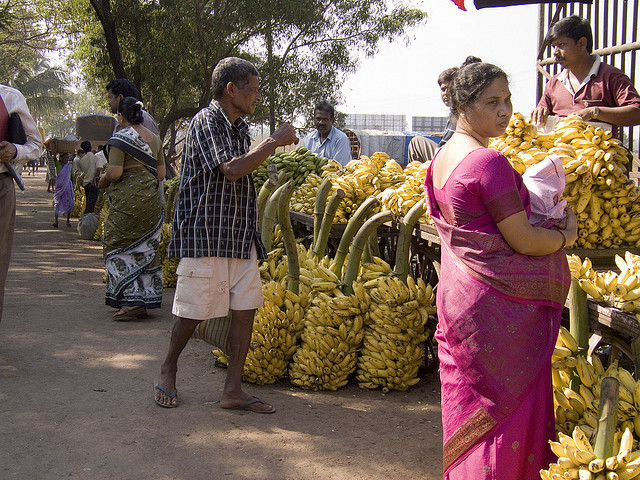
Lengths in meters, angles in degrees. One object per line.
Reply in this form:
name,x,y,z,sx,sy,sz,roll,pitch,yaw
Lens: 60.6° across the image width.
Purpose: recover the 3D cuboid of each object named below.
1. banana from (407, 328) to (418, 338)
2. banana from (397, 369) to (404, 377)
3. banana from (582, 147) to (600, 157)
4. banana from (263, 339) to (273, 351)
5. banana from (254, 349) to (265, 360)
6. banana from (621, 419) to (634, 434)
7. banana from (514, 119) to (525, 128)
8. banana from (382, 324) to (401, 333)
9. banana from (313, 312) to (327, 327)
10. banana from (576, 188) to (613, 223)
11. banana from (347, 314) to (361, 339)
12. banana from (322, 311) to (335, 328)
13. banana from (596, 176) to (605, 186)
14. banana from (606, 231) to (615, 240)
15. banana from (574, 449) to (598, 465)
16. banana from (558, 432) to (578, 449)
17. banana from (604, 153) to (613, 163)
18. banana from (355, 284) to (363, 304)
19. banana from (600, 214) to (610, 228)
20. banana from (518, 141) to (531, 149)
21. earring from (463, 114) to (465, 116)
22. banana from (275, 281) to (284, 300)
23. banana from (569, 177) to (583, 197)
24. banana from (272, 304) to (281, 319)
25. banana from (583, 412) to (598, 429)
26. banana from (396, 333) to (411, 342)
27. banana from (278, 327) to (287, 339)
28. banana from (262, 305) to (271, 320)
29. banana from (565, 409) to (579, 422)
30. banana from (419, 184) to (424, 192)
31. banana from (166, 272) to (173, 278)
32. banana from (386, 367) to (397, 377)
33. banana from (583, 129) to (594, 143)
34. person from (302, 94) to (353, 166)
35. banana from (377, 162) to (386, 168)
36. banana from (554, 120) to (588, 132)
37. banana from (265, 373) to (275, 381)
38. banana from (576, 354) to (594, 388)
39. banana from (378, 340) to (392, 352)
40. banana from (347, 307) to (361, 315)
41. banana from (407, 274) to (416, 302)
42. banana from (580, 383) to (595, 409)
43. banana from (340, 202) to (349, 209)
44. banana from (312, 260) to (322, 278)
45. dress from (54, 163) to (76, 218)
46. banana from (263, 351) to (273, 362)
banana,0.746,0.746,4.405,0.079,0.060,0.023,44,-25,-25
banana,0.650,1.066,4.390,0.058,0.066,0.016,0,8,-16
banana,1.651,-0.537,3.354,0.093,0.060,0.022,0,8,-14
banana,-0.406,0.841,4.403,0.031,0.124,0.041,-7,43,23
banana,-0.475,0.917,4.415,0.032,0.117,0.040,-34,16,-3
banana,1.470,0.882,2.618,0.053,0.042,0.074,-24,-27,-12
banana,1.317,-0.766,3.609,0.071,0.050,0.025,1,8,-12
banana,0.580,0.712,4.393,0.118,0.066,0.043,12,29,11
banana,-0.008,0.642,4.498,0.045,0.173,0.062,-33,-9,-15
banana,1.670,-0.216,3.342,0.197,0.214,0.056,20,-13,-21
banana,0.302,0.693,4.540,0.076,0.232,0.056,14,-7,37
banana,0.070,0.651,4.460,0.048,0.170,0.050,-31,1,5
banana,1.707,-0.359,3.333,0.043,0.055,0.044,-16,8,-24
banana,1.806,-0.027,3.412,0.012,0.041,0.041,35,16,17
banana,1.177,0.960,2.447,0.112,0.060,0.042,16,-13,-21
banana,1.125,0.910,2.504,0.105,0.031,0.035,47,-4,34
banana,1.740,-0.493,3.310,0.034,0.052,0.037,1,-20,7
banana,0.317,0.442,4.519,0.037,0.153,0.051,-16,-5,-17
banana,1.746,-0.115,3.359,0.039,0.073,0.024,16,-7,11
banana,1.352,-0.623,3.606,0.029,0.037,0.092,22,47,35
earring,0.686,-0.595,2.606,0.010,0.007,0.010,-8,13,-29
banana,-0.330,0.421,4.562,0.038,0.143,0.046,-3,-31,-20
banana,1.552,-0.327,3.330,0.041,0.118,0.037,38,21,13
banana,-0.347,0.574,4.436,0.030,0.108,0.031,-27,-3,-13
banana,1.311,0.873,2.676,0.026,0.044,0.080,27,22,-40
banana,0.677,0.785,4.404,0.123,0.080,0.033,0,8,-17
banana,-0.306,0.757,4.452,0.062,0.089,0.051,-1,-9,-7
banana,-0.434,0.587,4.430,0.026,0.108,0.036,-10,-5,-2
banana,1.267,0.879,2.753,0.035,0.069,0.038,-50,-8,38
banana,0.827,-0.420,4.442,0.026,0.061,0.036,-2,8,-24
banana,-2.113,0.487,7.716,0.027,0.073,0.050,-28,21,-4
banana,0.576,1.054,4.385,0.096,0.047,0.032,46,-8,-12
banana,1.682,-0.653,3.438,0.068,0.078,0.050,8,9,35
person,0.008,-1.254,7.106,0.764,1.035,0.641,-2,2,-32
banana,0.630,-0.759,5.546,0.055,0.029,0.070,22,15,0
banana,1.634,-0.738,3.555,0.176,0.050,0.038,-28,-15,8
banana,-0.398,1.121,4.479,0.051,0.043,0.021,2,9,28
banana,1.336,0.664,2.772,0.045,0.146,0.043,-2,-37,-37
banana,0.524,0.845,4.448,0.035,0.129,0.043,-44,-3,21
banana,0.284,0.578,4.467,0.129,0.049,0.040,20,-36,-37
banana,0.744,0.384,4.410,0.066,0.223,0.051,-16,-11,23
banana,1.323,0.779,2.751,0.037,0.119,0.034,-15,-25,-18
banana,0.241,-0.338,5.306,0.085,0.050,0.025,3,8,2
banana,-0.020,0.251,4.787,0.046,0.039,0.184,-2,34,-7
dress,-6.576,-1.276,14.141,0.446,1.405,0.755,-2,8,-25
banana,-0.410,0.937,4.405,0.063,0.077,0.021,-2,8,-27
